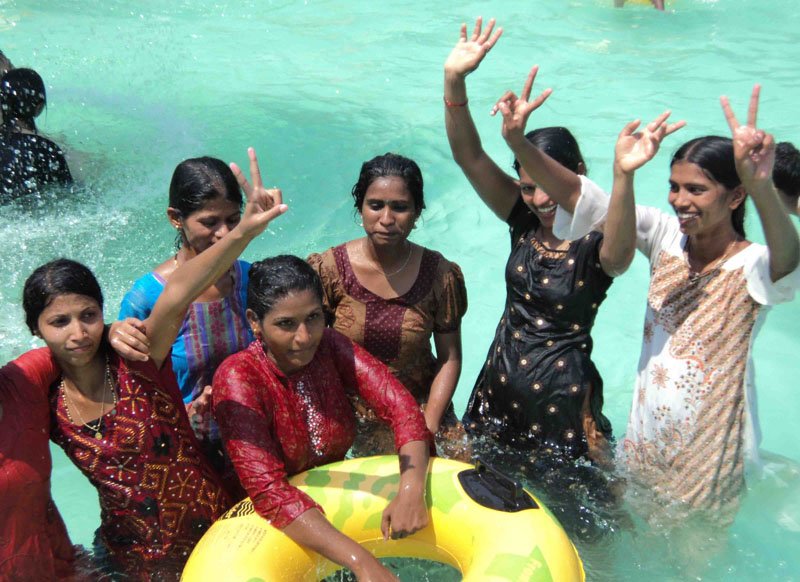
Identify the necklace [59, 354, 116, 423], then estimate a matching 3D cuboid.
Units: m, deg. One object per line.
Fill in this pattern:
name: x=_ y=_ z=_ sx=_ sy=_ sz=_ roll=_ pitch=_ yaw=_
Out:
necklace: x=-1.477 y=0.487 z=3.491 sx=0.185 sy=0.304 sz=0.062 roll=-12 pitch=6 yaw=-10
